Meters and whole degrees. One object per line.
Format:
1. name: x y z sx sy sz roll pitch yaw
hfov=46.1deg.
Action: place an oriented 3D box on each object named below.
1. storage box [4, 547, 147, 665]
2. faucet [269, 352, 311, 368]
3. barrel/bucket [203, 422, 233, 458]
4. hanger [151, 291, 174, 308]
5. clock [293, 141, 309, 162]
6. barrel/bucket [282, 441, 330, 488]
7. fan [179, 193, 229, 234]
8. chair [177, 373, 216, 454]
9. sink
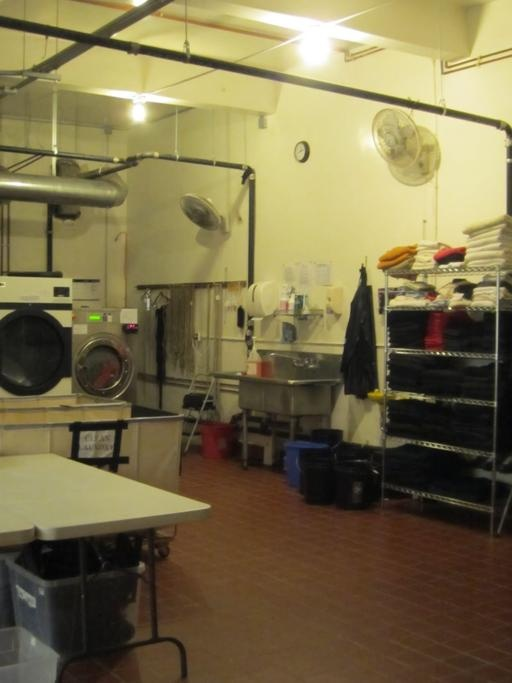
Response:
1. storage box: -0.553 0.792 1.847 0.300 0.231 0.412 0 4 -33
2. faucet: 0.380 0.193 6.567 0.391 0.150 0.154 11 6 35
3. barrel/bucket: -0.473 1.174 7.205 0.379 0.380 0.367 1 -5 0
4. hanger: -1.406 -0.631 9.074 0.011 0.206 0.217 3 19 -47
5. clock: 0.507 -2.114 6.766 0.045 0.247 0.278 -1 3 -31
6. barrel/bucket: 0.442 1.153 5.608 0.389 0.371 0.411 1 -1 0
7. fan: -0.599 -1.644 7.422 0.560 0.459 0.139 28 38 2
8. chair: -0.786 0.895 7.916 0.445 0.872 0.433 2 5 -41
9. sink: 0.252 0.585 6.337 1.150 0.431 0.606 2 3 30
